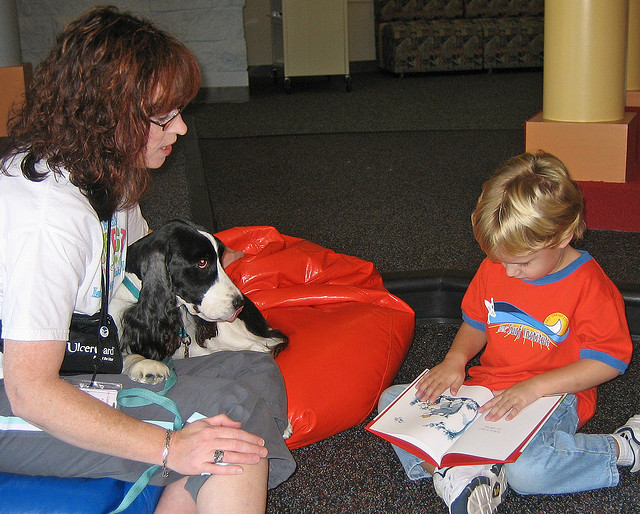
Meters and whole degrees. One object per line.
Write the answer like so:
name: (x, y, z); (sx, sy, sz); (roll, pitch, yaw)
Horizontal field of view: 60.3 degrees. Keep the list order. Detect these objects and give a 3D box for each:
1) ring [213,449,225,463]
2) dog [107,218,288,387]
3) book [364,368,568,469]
ring: (-0.221, 0.436, 1.204); (0.024, 0.023, 0.009); (-17, -28, 28)
dog: (-0.381, 0.106, 1.764); (0.400, 0.442, 0.646); (19, 17, 40)
book: (0.402, 0.446, 1.577); (0.423, 0.113, 0.394); (12, 20, 42)
